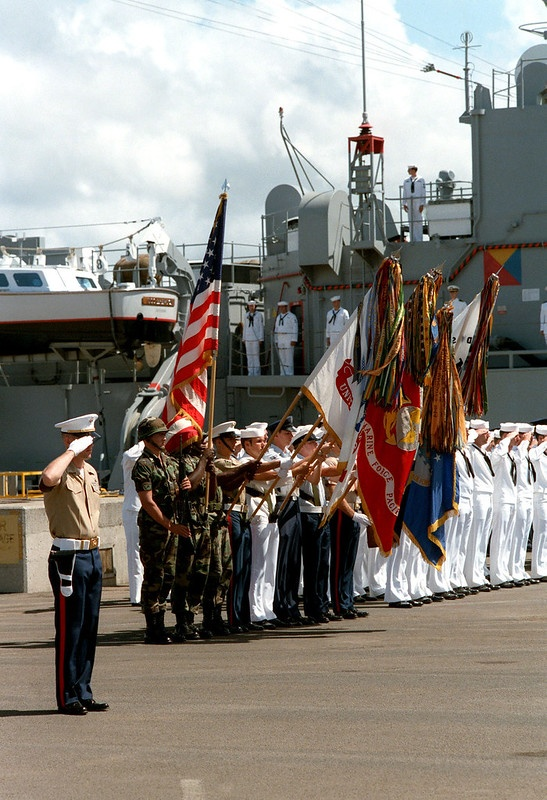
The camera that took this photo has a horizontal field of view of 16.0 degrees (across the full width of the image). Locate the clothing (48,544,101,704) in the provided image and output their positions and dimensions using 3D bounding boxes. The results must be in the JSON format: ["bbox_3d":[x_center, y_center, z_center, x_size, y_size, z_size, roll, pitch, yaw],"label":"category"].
[{"bbox_3d":[-1.052,1.237,10.519,0.285,0.834,0.323,-1,2,-13],"label":"clothing"}]

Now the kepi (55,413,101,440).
[{"bbox_3d":[-1.088,0.139,10.650,0.209,0.119,0.191,0,0,28],"label":"kepi"}]

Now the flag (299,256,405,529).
[{"bbox_3d":[0.626,-0.215,13.217,0.770,0.626,2.359,4,42,8],"label":"flag"}]

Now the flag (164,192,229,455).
[{"bbox_3d":[-0.520,-0.594,12.951,0.419,1.596,0.510,-1,2,-4],"label":"flag"}]
